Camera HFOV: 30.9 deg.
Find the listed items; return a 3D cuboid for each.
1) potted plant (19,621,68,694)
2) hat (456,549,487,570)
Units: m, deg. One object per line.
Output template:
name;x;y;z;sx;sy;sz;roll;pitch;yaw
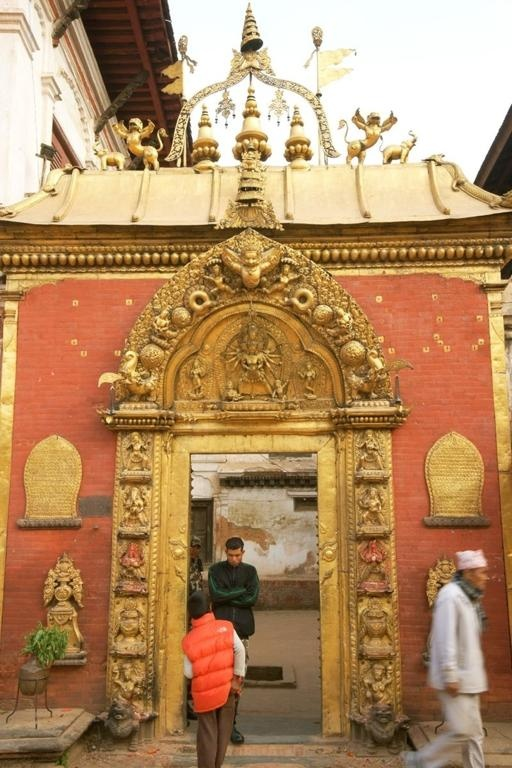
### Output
potted plant;-1.736;2.241;7.598;0.420;0.567;0.316;-12;-29;39
hat;1.455;1.225;6.540;0.249;0.153;0.239;-7;-8;26
